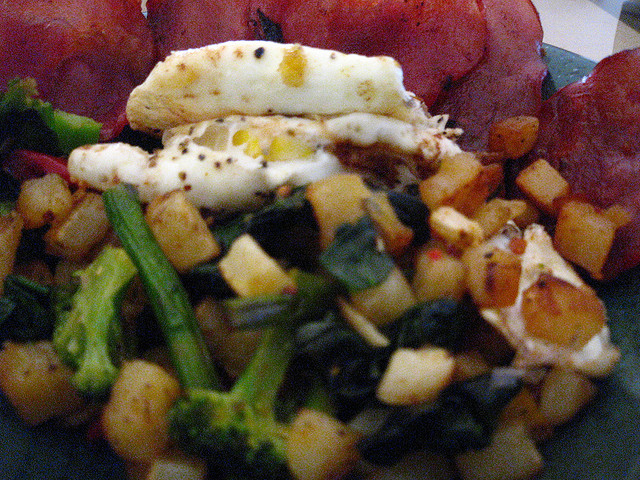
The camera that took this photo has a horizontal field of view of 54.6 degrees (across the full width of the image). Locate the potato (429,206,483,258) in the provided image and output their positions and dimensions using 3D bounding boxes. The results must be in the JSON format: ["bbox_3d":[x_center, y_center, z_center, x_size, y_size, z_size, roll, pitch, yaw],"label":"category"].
[{"bbox_3d":[0.155,-0.011,0.724,0.060,0.036,0.055,-10,112,-25],"label":"potato"}]

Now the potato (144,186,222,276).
[{"bbox_3d":[-0.166,-0.008,0.740,0.077,0.027,0.108,-27,87,-7],"label":"potato"}]

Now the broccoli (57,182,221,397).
[{"bbox_3d":[-0.237,0.077,0.718,0.163,0.045,0.272,-18,72,-16],"label":"broccoli"}]

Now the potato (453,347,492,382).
[{"bbox_3d":[0.167,0.138,0.691,0.037,0.011,0.035,-19,87,-18],"label":"potato"}]

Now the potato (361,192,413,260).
[{"bbox_3d":[0.078,-0.019,0.727,0.038,0.017,0.078,-27,75,-18],"label":"potato"}]

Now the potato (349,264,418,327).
[{"bbox_3d":[0.070,0.066,0.701,0.060,0.031,0.058,-41,73,-4],"label":"potato"}]

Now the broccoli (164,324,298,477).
[{"bbox_3d":[-0.100,0.175,0.684,0.135,0.057,0.163,7,67,-7],"label":"broccoli"}]

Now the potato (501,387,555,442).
[{"bbox_3d":[0.231,0.194,0.698,0.059,0.018,0.060,21,78,-18],"label":"potato"}]

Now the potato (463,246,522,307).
[{"bbox_3d":[0.198,0.041,0.707,0.054,0.039,0.073,-3,110,-5],"label":"potato"}]

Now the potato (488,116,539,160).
[{"bbox_3d":[0.272,-0.146,0.879,0.066,0.047,0.062,-1,109,5],"label":"potato"}]

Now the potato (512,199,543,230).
[{"bbox_3d":[0.272,-0.029,0.820,0.043,0.012,0.041,-34,95,-28],"label":"potato"}]

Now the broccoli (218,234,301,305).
[{"bbox_3d":[-0.074,0.040,0.708,0.053,0.027,0.093,-36,73,-8],"label":"broccoli"}]

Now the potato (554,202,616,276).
[{"bbox_3d":[0.342,-0.008,0.801,0.068,0.026,0.085,21,66,-1],"label":"potato"}]

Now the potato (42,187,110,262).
[{"bbox_3d":[-0.295,-0.018,0.771,0.066,0.030,0.093,35,83,-4],"label":"potato"}]

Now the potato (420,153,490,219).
[{"bbox_3d":[0.164,-0.065,0.757,0.052,0.082,0.075,-9,107,-14],"label":"potato"}]

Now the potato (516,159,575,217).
[{"bbox_3d":[0.300,-0.073,0.834,0.062,0.041,0.083,-34,63,-1],"label":"potato"}]

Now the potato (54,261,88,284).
[{"bbox_3d":[-0.310,0.040,0.761,0.030,0.008,0.032,10,70,14],"label":"potato"}]
